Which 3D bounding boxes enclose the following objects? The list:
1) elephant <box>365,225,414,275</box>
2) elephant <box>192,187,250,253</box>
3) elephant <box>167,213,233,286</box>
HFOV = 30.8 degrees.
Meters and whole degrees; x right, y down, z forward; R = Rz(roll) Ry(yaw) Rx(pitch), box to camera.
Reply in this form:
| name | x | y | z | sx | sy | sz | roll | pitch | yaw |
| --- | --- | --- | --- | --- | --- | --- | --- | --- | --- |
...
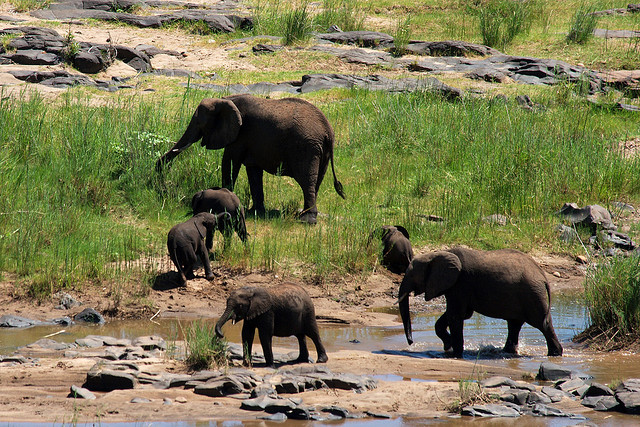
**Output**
| name | x | y | z | sx | sy | sz | roll | pitch | yaw |
| --- | --- | --- | --- | --- | --- | --- | --- | --- | --- |
| elephant | 1.596 | 0.813 | 25.814 | 0.729 | 0.964 | 1.528 | -4 | 11 | -25 |
| elephant | -2.361 | -0.029 | 25.437 | 1.713 | 1.054 | 0.661 | 11 | 15 | 36 |
| elephant | -2.583 | 0.704 | 24.820 | 0.644 | 1.393 | 2.128 | 5 | 15 | 27 |
